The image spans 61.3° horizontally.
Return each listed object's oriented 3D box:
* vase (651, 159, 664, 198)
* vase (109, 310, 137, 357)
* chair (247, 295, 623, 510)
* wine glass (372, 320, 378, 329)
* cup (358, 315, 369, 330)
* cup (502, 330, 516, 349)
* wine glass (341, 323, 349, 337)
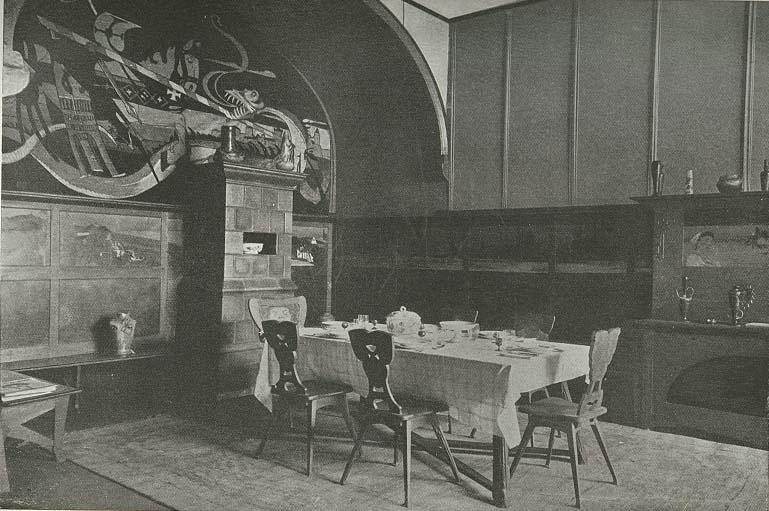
[{"bbox_3d":[1.991,-0.570,4.761,0.092,0.254,0.036,2,2,18],"label":"vase"},{"bbox_3d":[-1.935,0.578,4.840,0.200,0.305,0.209,-1,3,-43],"label":"vase"},{"bbox_3d":[0.286,1.056,4.645,2.553,1.213,0.950,2,1,24],"label":"chair"},{"bbox_3d":[-0.073,0.543,5.120,0.046,0.046,0.045,3,-7,-10],"label":"wine glass"},{"bbox_3d":[-0.169,0.528,5.140,0.084,0.078,0.045,9,-16,-44],"label":"cup"},{"bbox_3d":[0.902,0.621,4.753,0.110,0.197,0.110,-1,-2,0],"label":"cup"},{"bbox_3d":[-0.297,0.557,4.948,0.028,0.085,0.060,5,3,-26],"label":"wine glass"}]
